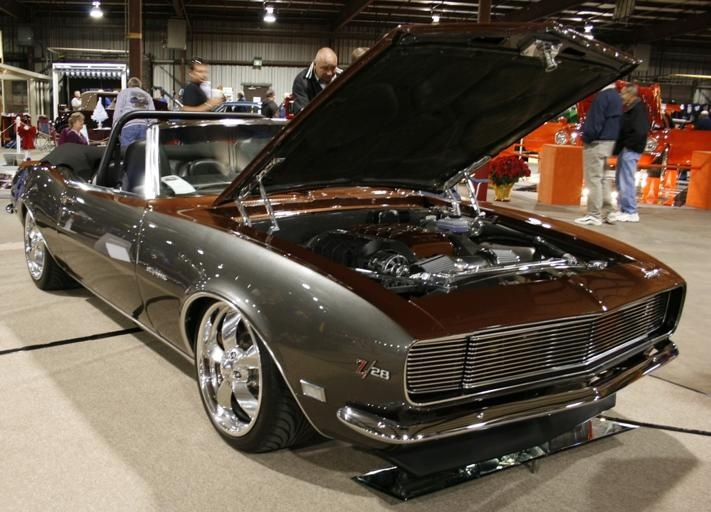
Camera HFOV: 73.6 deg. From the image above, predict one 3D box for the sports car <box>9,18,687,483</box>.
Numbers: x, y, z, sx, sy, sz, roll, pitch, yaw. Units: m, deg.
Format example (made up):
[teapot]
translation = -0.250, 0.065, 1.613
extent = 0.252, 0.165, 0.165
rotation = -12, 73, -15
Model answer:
[sports car]
translation = -0.626, -0.444, 3.480
extent = 2.240, 1.423, 4.634
rotation = -13, 25, -43

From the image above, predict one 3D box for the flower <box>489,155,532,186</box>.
[flower]
translation = 3.196, -1.799, 9.877
extent = 0.885, 0.616, 0.766
rotation = 1, 7, 16
